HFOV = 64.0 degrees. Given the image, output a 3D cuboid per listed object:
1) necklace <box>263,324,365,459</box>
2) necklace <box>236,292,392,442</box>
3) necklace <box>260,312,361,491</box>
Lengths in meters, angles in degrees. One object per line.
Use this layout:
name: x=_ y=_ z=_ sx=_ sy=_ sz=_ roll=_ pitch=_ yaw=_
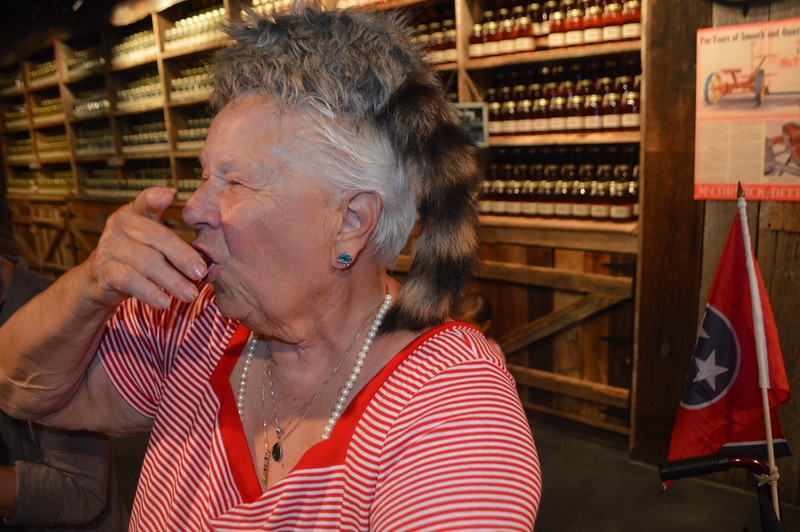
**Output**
necklace: x=-0.235 y=0.394 z=1.828 sx=0.242 sy=0.418 sz=0.069 roll=0 pitch=-20 yaw=29
necklace: x=-0.212 y=0.266 z=1.694 sx=0.329 sy=0.484 sz=0.035 roll=15 pitch=-9 yaw=28
necklace: x=-0.231 y=0.404 z=1.928 sx=0.259 sy=0.487 sz=0.096 roll=-1 pitch=-27 yaw=32
